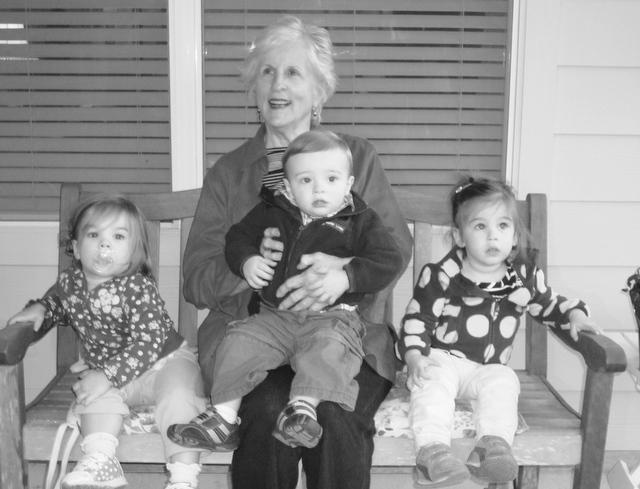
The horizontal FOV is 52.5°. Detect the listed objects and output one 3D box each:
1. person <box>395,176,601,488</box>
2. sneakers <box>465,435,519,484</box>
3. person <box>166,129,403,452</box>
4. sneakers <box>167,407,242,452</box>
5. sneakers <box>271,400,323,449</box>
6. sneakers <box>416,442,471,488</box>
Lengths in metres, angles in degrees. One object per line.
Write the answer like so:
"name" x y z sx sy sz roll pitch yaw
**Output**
"person" 0.554 0.237 2.451 0.742 1.105 0.993 0 11 2
"sneakers" 0.558 0.690 2.088 0.108 0.099 0.232 3 -25 0
"person" -0.071 0.129 2.093 0.641 1.012 0.461 1 3 12
"sneakers" -0.345 0.556 1.983 0.213 0.138 0.101 11 -10 -12
"sneakers" -0.069 0.520 1.926 0.105 0.099 0.199 1 32 20
"sneakers" 0.374 0.710 2.061 0.098 0.153 0.229 0 3 -19
